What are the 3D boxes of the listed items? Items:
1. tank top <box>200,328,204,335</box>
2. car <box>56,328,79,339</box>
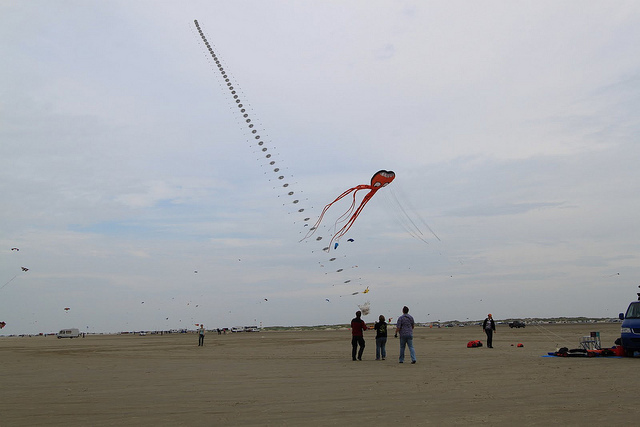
[{"bbox_3d":[-10.727,10.795,44.486,0.310,0.451,0.783,3,-10,-18],"label":"tank top"},{"bbox_3d":[-47.629,22.846,92.805,2.581,1.874,8.364,2,-9,-15],"label":"car"}]
